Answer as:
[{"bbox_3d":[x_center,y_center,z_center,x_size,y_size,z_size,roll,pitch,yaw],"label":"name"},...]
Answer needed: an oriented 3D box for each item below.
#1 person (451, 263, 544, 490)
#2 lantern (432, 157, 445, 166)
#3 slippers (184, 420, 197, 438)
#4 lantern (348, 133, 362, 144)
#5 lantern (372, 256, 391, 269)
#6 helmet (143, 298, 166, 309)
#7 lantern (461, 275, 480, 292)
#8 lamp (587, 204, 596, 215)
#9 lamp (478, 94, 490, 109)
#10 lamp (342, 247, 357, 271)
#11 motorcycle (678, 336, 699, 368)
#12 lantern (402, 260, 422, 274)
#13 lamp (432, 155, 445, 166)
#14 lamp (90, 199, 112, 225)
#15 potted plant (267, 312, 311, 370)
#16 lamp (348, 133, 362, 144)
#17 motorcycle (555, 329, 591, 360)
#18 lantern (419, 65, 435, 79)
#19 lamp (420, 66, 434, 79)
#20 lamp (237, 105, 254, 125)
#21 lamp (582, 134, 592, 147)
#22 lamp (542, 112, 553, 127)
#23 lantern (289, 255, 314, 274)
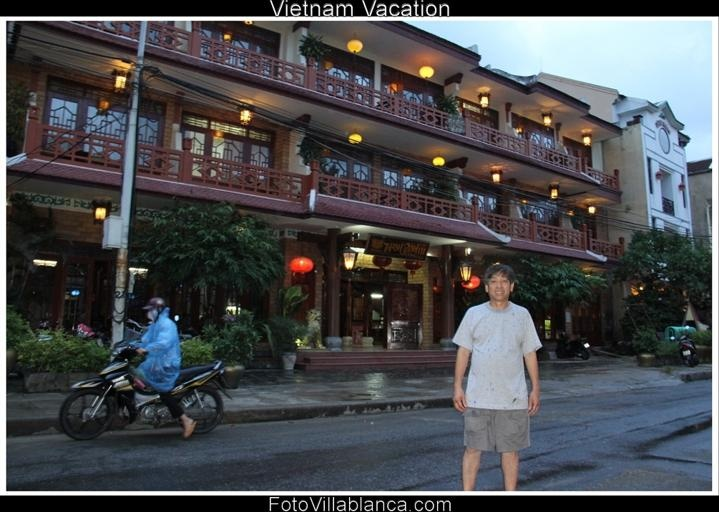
[{"bbox_3d":[1.404,1.228,5.393,0.847,2.281,0.373,-1,-7,14],"label":"person"},{"bbox_3d":[3.294,-3.906,22.128,0.479,0.317,0.457,-1,-9,-1],"label":"lantern"},{"bbox_3d":[-2.652,2.688,8.212,0.181,0.422,0.159,2,17,-19],"label":"slippers"},{"bbox_3d":[-0.164,-4.423,20.078,0.524,0.260,0.501,-1,-10,1],"label":"lantern"},{"bbox_3d":[0.857,0.253,20.373,0.549,0.556,0.525,-1,-5,-15],"label":"lantern"},{"bbox_3d":[-3.237,0.724,8.402,0.389,0.180,0.270,7,-13,-20],"label":"helmet"},{"bbox_3d":[4.705,1.196,22.247,0.739,0.633,0.708,-2,-8,5],"label":"lantern"},{"bbox_3d":[12.646,-2.453,28.787,0.370,0.470,0.817,-2,-8,20],"label":"lamp"},{"bbox_3d":[5.764,-7.096,24.451,0.644,0.599,0.621,2,-7,11],"label":"lamp"},{"bbox_3d":[-0.364,0.105,19.244,0.454,0.751,0.925,0,-8,2],"label":"lamp"},{"bbox_3d":[12.778,3.712,20.509,0.578,1.109,1.412,-4,-9,31],"label":"motorcycle"},{"bbox_3d":[2.098,0.496,21.611,0.552,0.489,0.555,-8,-10,34],"label":"lantern"},{"bbox_3d":[3.324,-3.971,22.159,0.491,0.435,0.467,-1,-12,-5],"label":"lamp"},{"bbox_3d":[-7.674,-1.307,15.600,0.524,0.657,0.680,3,-8,-20],"label":"lamp"},{"bbox_3d":[-2.362,2.746,16.688,1.154,1.648,0.681,2,-7,-10],"label":"potted plant"},{"bbox_3d":[-0.179,-4.433,20.036,0.525,0.259,0.500,-1,-11,-1],"label":"lamp"},{"bbox_3d":[9.688,4.164,23.990,1.845,1.263,0.877,0,-10,19],"label":"motorcycle"},{"bbox_3d":[2.834,-7.615,22.109,0.631,0.583,0.604,-12,12,-27],"label":"lantern"},{"bbox_3d":[2.797,-7.621,22.086,0.600,0.568,0.606,7,17,39],"label":"lamp"},{"bbox_3d":[-3.788,-4.647,17.468,0.563,0.515,0.512,-2,-13,-1],"label":"lamp"},{"bbox_3d":[12.623,-6.398,29.371,0.492,0.536,0.476,13,-16,-36],"label":"lamp"},{"bbox_3d":[9.663,-6.922,26.934,0.657,0.721,0.622,0,-3,1],"label":"lamp"},{"bbox_3d":[-1.958,0.335,17.864,0.710,0.454,0.644,-1,-10,8],"label":"lantern"}]
